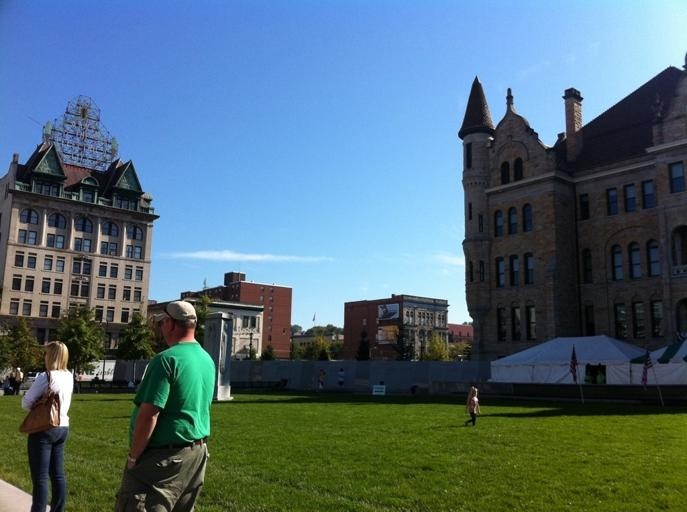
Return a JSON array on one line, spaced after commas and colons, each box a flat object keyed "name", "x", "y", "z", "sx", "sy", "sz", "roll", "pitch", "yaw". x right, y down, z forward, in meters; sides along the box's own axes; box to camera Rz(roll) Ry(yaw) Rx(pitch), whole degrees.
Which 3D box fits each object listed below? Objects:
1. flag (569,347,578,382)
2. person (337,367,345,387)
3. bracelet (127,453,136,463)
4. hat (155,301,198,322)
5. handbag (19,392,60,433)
[{"name": "flag", "x": 14.546, "y": 6.935, "z": 34.631, "sx": 0.419, "sy": 2.391, "sz": 4.784, "roll": -5, "pitch": -13, "yaw": 22}, {"name": "person", "x": -0.165, "y": 11.057, "z": 49.638, "sx": 0.509, "sy": 1.607, "sz": 1.618, "roll": 2, "pitch": -12, "yaw": -9}, {"name": "bracelet", "x": -2.440, "y": 2.362, "z": 6.375, "sx": 0.087, "sy": 0.078, "sz": 0.046, "roll": 28, "pitch": 12, "yaw": 14}, {"name": "hat", "x": -2.087, "y": 0.693, "z": 6.839, "sx": 0.395, "sy": 0.221, "sz": 0.305, "roll": 6, "pitch": -5, "yaw": 22}, {"name": "handbag", "x": -4.578, "y": 2.405, "z": 8.361, "sx": 0.524, "sy": 0.597, "sz": 0.242, "roll": 6, "pitch": -13, "yaw": -27}]
